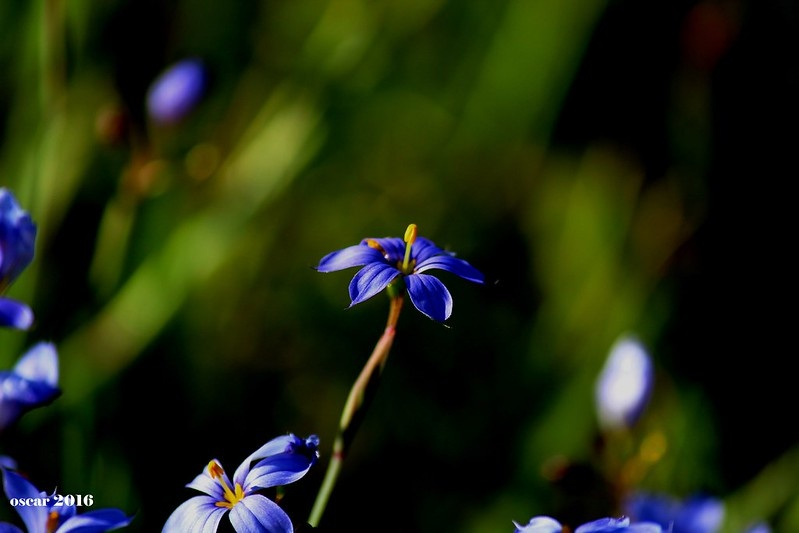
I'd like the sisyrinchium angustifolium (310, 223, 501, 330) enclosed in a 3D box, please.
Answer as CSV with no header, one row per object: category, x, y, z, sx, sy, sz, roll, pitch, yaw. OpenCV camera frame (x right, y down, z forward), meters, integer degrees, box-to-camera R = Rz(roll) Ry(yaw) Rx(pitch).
sisyrinchium angustifolium,0.009,-0.001,1.545,0.232,0.179,0.239,14,-2,40
